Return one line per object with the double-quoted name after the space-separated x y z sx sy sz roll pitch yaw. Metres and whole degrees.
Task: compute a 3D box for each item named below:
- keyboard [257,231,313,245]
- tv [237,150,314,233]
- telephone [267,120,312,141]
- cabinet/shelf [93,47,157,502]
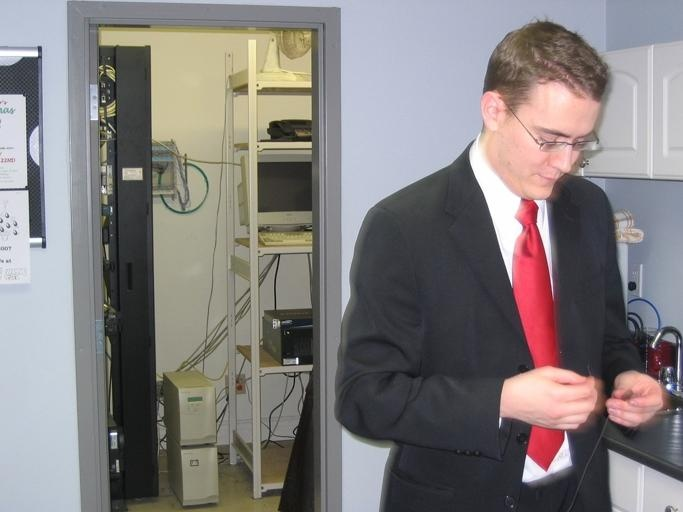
-0.339 -0.108 3.842 0.315 0.092 0.229 -2 2 -9 "keyboard"
-0.436 -0.414 4.160 0.532 0.483 0.495 -3 5 -16 "tv"
-0.315 -0.766 3.897 0.254 0.162 0.232 -2 2 -8 "telephone"
-1.252 0.151 3.779 0.313 2.725 0.413 -3 2 -28 "cabinet/shelf"
